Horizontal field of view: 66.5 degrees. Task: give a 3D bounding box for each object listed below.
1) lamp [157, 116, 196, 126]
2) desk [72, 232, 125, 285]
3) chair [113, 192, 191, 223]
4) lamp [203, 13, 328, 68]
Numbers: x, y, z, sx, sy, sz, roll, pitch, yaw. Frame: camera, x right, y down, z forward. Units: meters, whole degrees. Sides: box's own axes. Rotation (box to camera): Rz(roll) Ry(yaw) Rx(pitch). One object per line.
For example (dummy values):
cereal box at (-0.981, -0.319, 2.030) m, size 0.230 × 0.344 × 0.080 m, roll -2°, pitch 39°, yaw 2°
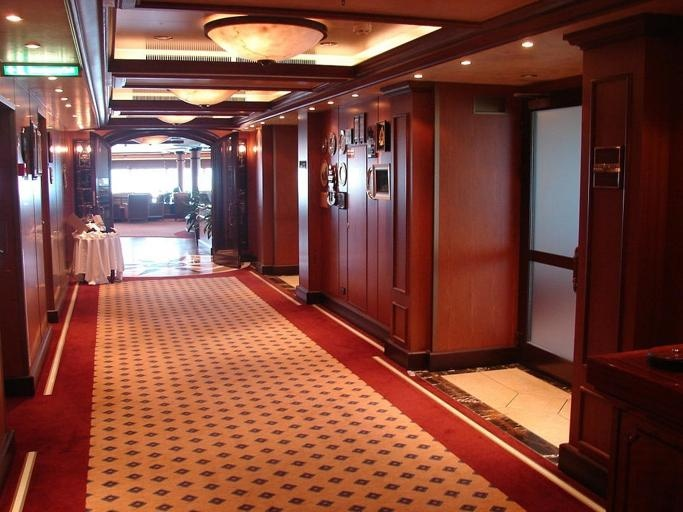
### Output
lamp at (-3.480, -2.835, 10.900) m, size 0.453 × 0.140 × 0.440 m, roll -3°, pitch 8°, yaw -28°
desk at (-4.884, -0.038, 10.957) m, size 1.056 × 1.027 × 1.053 m, roll 0°, pitch 16°, yaw -4°
chair at (-8.760, -2.247, 23.711) m, size 3.275 × 1.265 × 1.369 m, roll -2°, pitch 10°, yaw -10°
lamp at (-0.605, -1.827, 4.336) m, size 0.557 × 0.182 × 0.577 m, roll -3°, pitch 6°, yaw -22°
